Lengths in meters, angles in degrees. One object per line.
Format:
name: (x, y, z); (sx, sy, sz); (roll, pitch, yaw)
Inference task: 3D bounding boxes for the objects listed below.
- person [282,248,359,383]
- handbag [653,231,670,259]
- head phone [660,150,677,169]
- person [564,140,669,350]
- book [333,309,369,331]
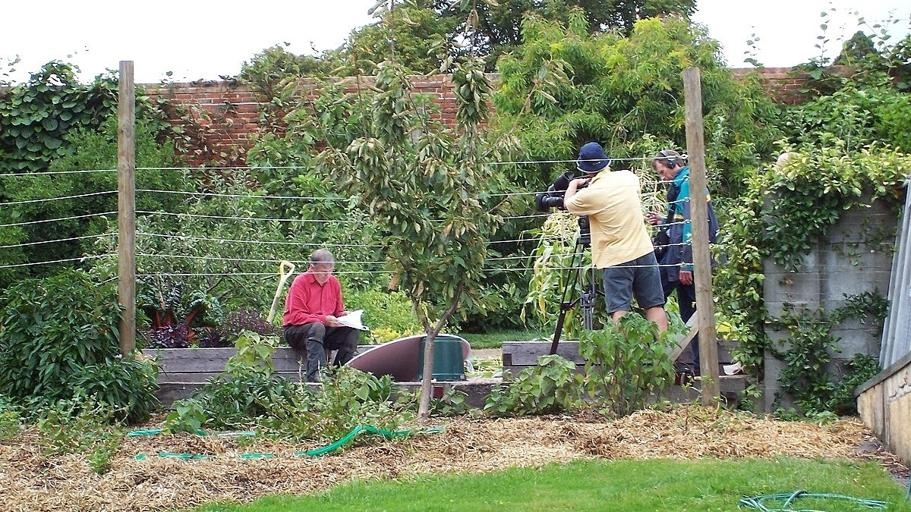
person: (-1.694, 0.745, 12.666); (0.912, 1.641, 0.470); (1, -4, -12)
handbag: (2.563, -0.137, 12.892); (0.125, 0.352, 0.258); (5, -7, -9)
head phone: (2.656, -1.238, 12.847); (0.237, 0.198, 0.169); (19, -24, -31)
person: (1.947, -0.235, 12.276); (1.128, 2.211, 0.361); (0, -4, 7)
book: (-1.334, 0.800, 12.744); (0.326, 0.238, 0.432); (0, -4, -2)
